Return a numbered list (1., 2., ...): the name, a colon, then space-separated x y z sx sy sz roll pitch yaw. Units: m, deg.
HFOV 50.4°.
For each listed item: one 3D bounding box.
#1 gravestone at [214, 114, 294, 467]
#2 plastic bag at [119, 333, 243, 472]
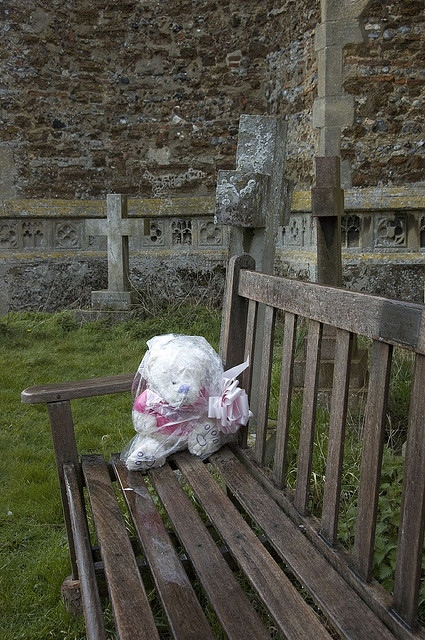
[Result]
1. gravestone: 0.166 0.006 2.165 0.329 1.761 0.376 6 14 13
2. plastic bag: -0.113 0.206 1.491 0.349 0.412 0.374 -3 7 -11
